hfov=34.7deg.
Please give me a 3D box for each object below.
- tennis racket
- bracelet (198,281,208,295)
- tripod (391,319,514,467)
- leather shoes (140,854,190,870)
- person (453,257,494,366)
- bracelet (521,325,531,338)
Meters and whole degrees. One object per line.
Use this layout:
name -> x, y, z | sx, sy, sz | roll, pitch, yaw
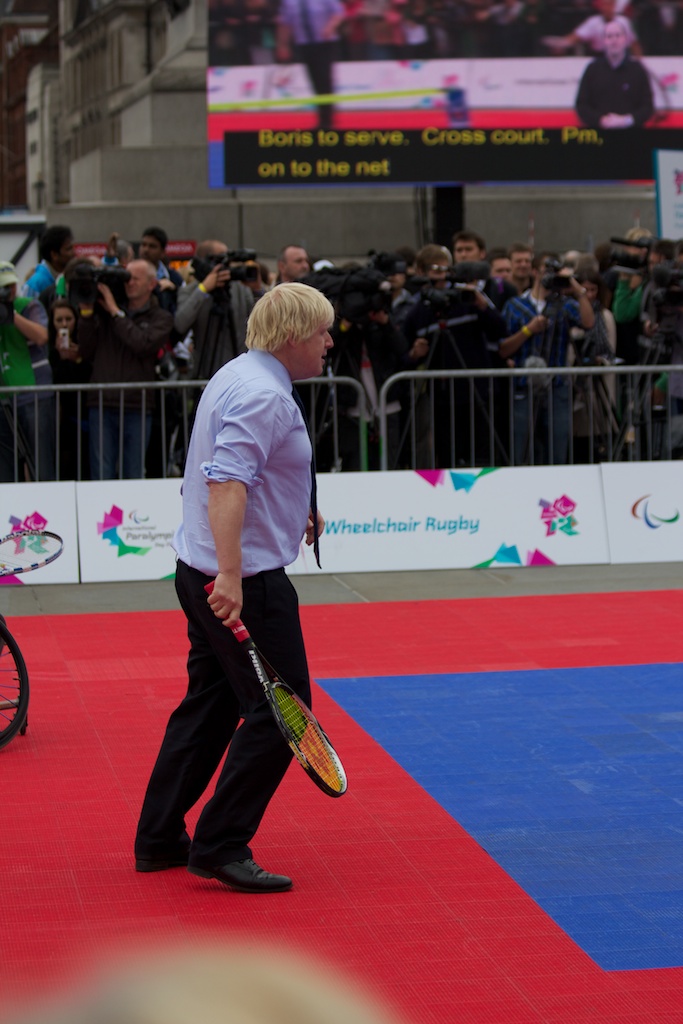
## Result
tennis racket -> -0.146, 0.586, 3.323 | 0.279, 0.504, 0.509 | -2, 5, -29
bracelet -> -1.177, -1.888, 9.297 | 0.077, 0.069, 0.078 | 2, -1, 0
tripod -> 0.976, -1.097, 9.926 | 1.354, 1.481, 0.690 | -1, 1, -12
leather shoes -> -0.634, 1.233, 3.853 | 0.174, 0.056, 0.036 | -1, 5, -15
person -> 1.142, -1.726, 9.500 | 0.350, 0.880, 0.518 | 12, 20, 27
bracelet -> 1.655, -1.615, 9.842 | 0.031, 0.084, 0.073 | 6, 36, 22
